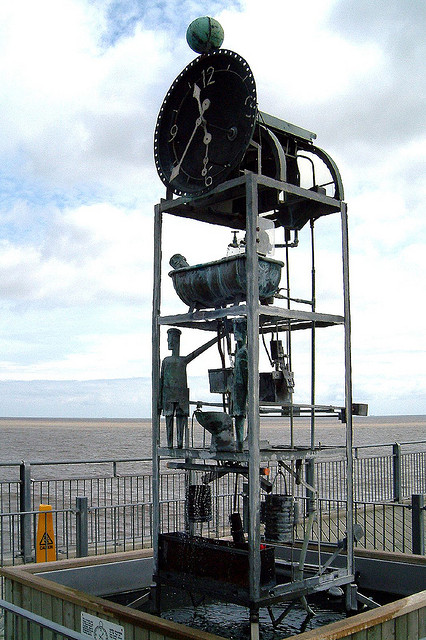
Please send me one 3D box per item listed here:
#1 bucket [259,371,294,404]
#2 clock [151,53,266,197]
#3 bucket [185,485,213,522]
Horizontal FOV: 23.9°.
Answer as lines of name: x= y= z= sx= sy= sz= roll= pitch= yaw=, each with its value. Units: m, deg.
bucket: x=0.714 y=0.763 z=11.574 sx=0.388 sy=0.358 sz=0.457 roll=-2 pitch=-4 yaw=2
clock: x=-0.131 y=-2.197 z=11.380 sx=0.253 sy=1.616 sz=1.720 roll=1 pitch=-5 yaw=-35
bucket: x=-0.171 y=2.083 z=11.458 sx=0.350 sy=0.424 sz=0.357 roll=-1 pitch=-5 yaw=0
